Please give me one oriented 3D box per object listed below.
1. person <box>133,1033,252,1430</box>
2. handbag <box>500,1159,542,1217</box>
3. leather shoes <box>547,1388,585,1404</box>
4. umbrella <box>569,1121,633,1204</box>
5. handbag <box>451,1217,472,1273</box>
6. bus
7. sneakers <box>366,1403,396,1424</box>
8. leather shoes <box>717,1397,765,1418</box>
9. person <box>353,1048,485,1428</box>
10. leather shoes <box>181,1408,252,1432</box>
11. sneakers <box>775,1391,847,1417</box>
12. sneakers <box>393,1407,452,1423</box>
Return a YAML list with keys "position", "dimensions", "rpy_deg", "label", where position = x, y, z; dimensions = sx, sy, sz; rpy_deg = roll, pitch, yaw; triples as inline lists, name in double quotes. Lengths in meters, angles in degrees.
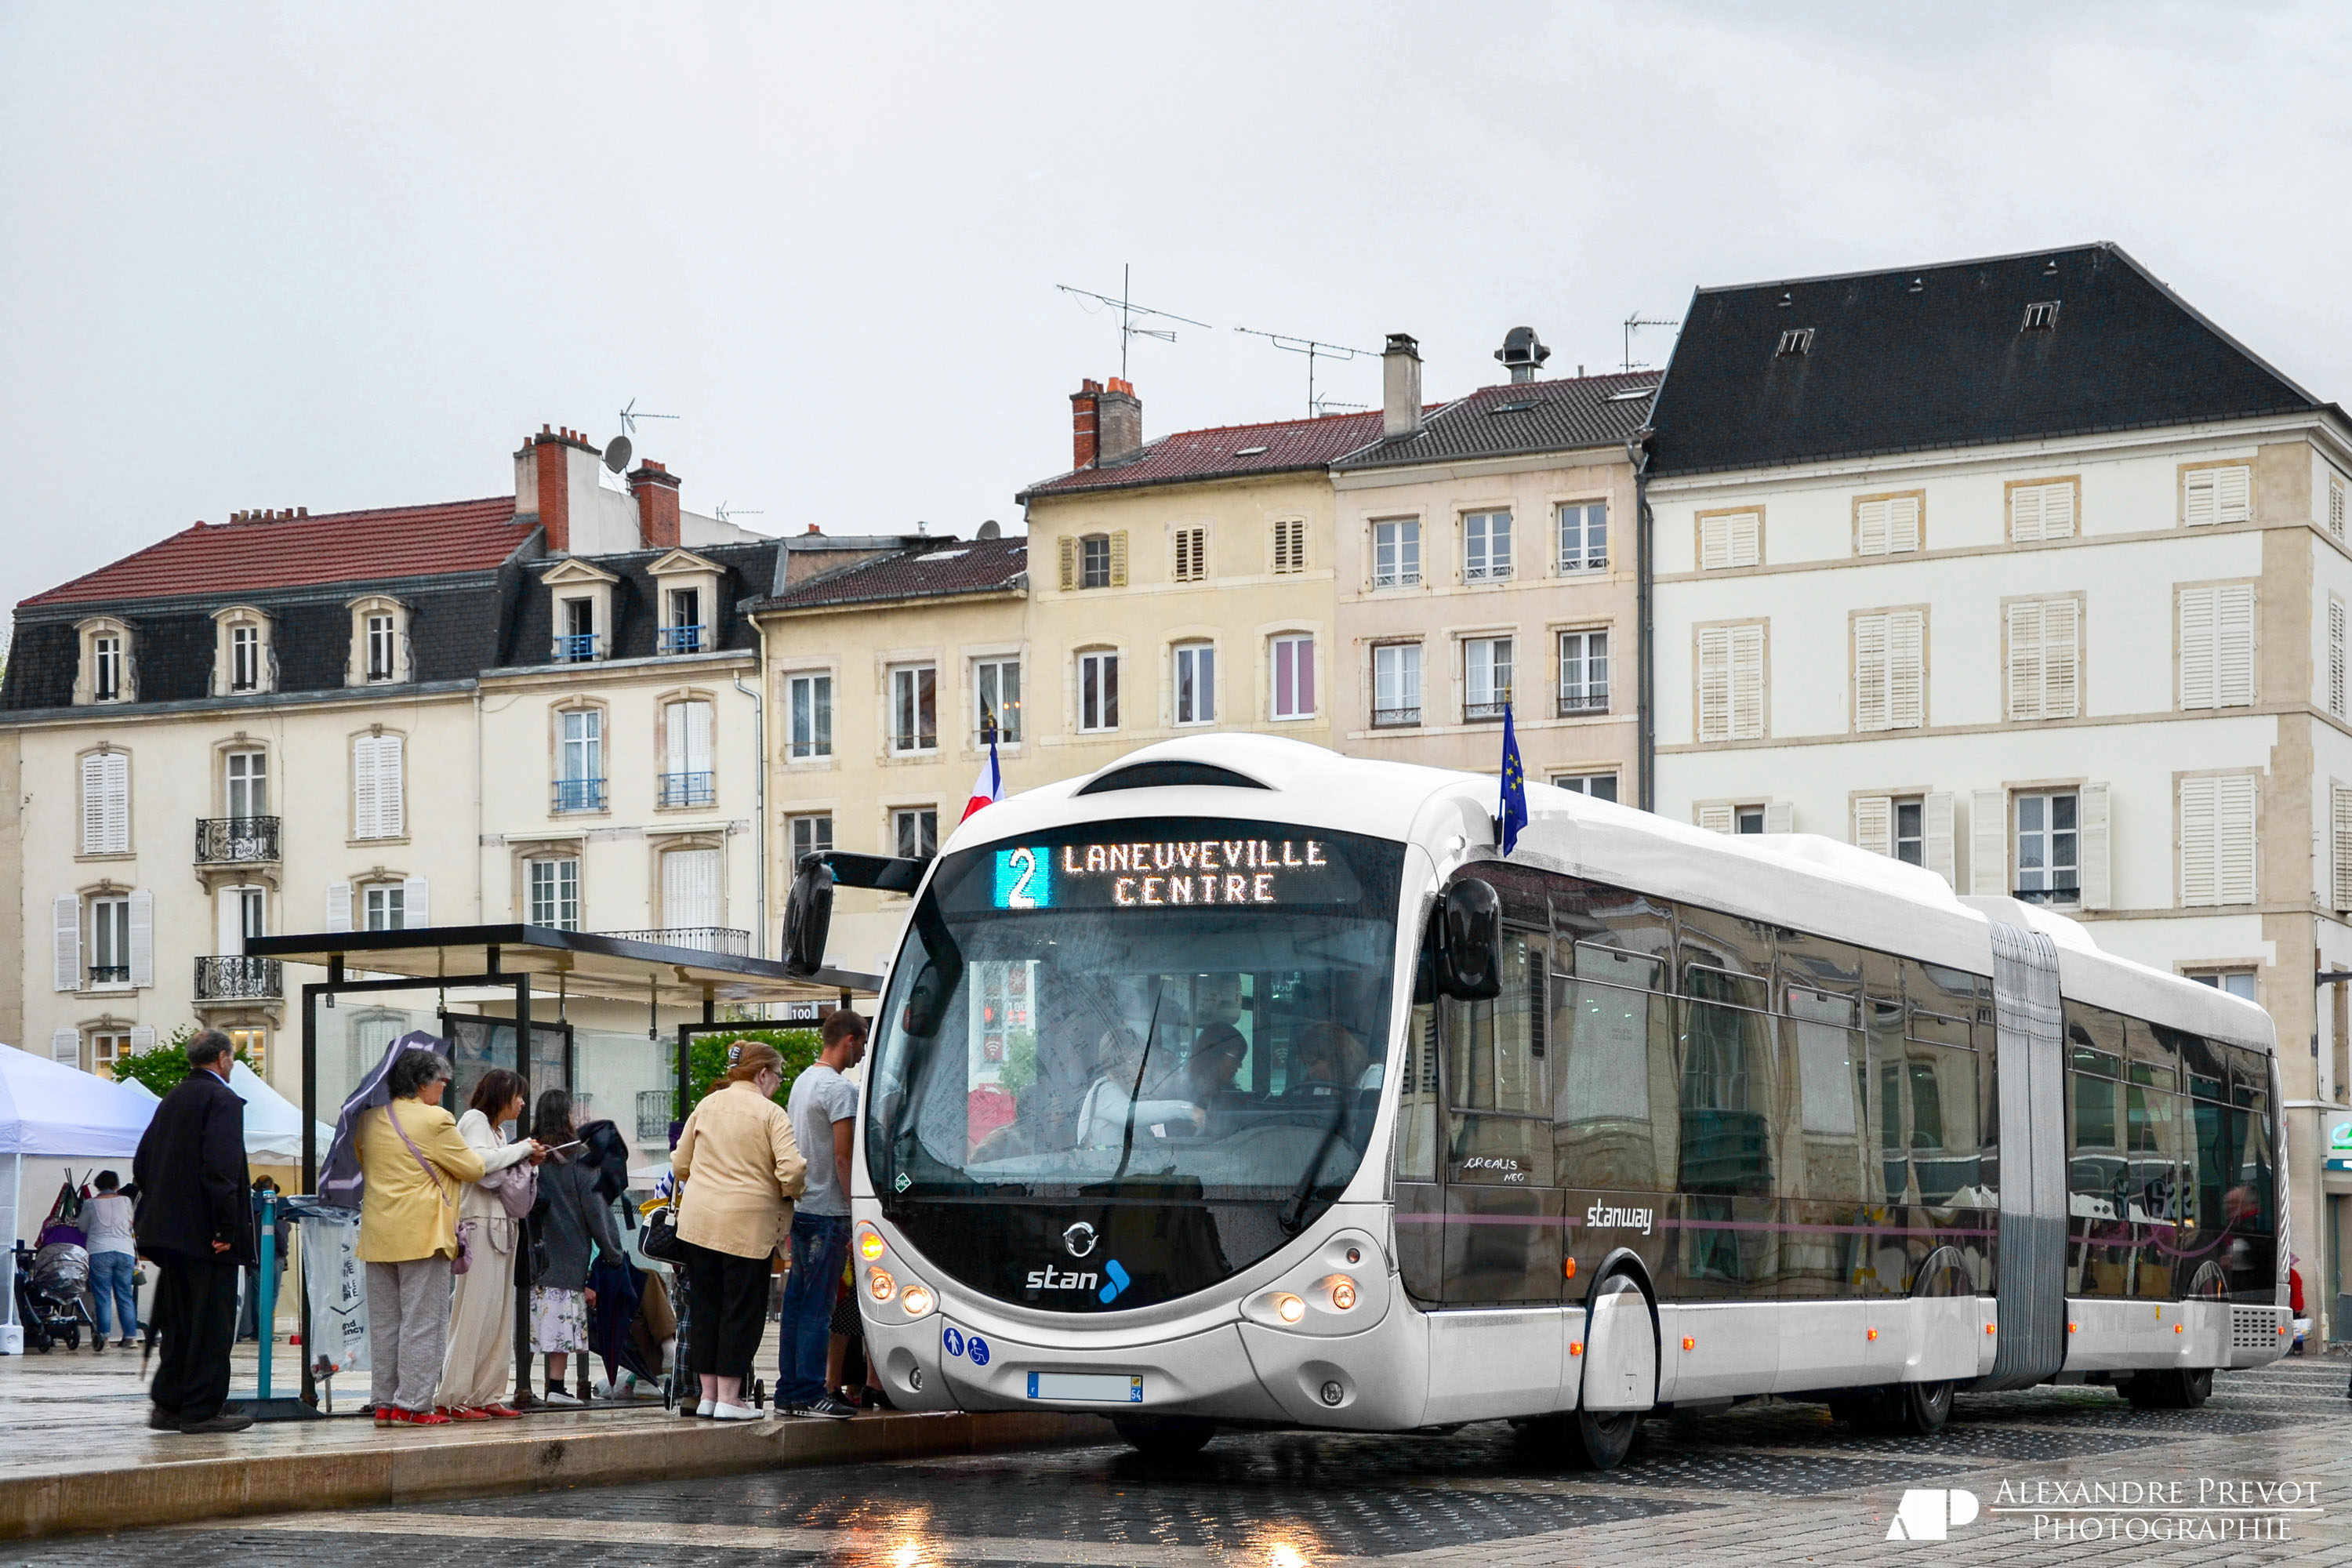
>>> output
- position: [-7.378, 3.348, 29.333]
  dimensions: [0.833, 2.989, 0.655]
  rpy_deg: [1, 2, -14]
  label: "person"
- position: [-5.095, 3.150, 30.317]
  dimensions: [0.300, 0.413, 0.202]
  rpy_deg: [0, -10, 33]
  label: "handbag"
- position: [-4.899, 4.947, 31.568]
  dimensions: [0.351, 0.135, 0.118]
  rpy_deg: [0, -7, 14]
  label: "leather shoes"
- position: [-4.626, 3.039, 31.465]
  dimensions: [0.201, 0.545, 0.437]
  rpy_deg: [-3, 4, 15]
  label: "umbrella"
- position: [-5.462, 3.559, 29.800]
  dimensions: [0.104, 0.279, 0.200]
  rpy_deg: [0, -1, 14]
  label: "handbag"
- position: [4.557, 3.505, 35.495]
  dimensions: [4.880, 4.365, 16.791]
  rpy_deg: [-8, -14, 36]
  label: "bus"
- position: [-6.034, 4.798, 29.725]
  dimensions: [0.127, 0.115, 0.124]
  rpy_deg: [4, -5, -21]
  label: "sneakers"
- position: [-3.405, 4.885, 30.557]
  dimensions: [0.385, 0.156, 0.126]
  rpy_deg: [1, -2, -13]
  label: "leather shoes"
- position: [-5.787, 3.454, 29.631]
  dimensions: [0.859, 2.798, 0.401]
  rpy_deg: [2, 2, -10]
  label: "person"
- position: [-7.199, 4.759, 29.311]
  dimensions: [0.480, 0.185, 0.173]
  rpy_deg: [-1, -5, 2]
  label: "leather shoes"
- position: [-2.912, 4.970, 31.243]
  dimensions: [0.577, 0.218, 0.193]
  rpy_deg: [-1, -4, -2]
  label: "sneakers"
- position: [-5.766, 4.793, 29.799]
  dimensions: [0.390, 0.162, 0.137]
  rpy_deg: [1, -2, -13]
  label: "sneakers"
